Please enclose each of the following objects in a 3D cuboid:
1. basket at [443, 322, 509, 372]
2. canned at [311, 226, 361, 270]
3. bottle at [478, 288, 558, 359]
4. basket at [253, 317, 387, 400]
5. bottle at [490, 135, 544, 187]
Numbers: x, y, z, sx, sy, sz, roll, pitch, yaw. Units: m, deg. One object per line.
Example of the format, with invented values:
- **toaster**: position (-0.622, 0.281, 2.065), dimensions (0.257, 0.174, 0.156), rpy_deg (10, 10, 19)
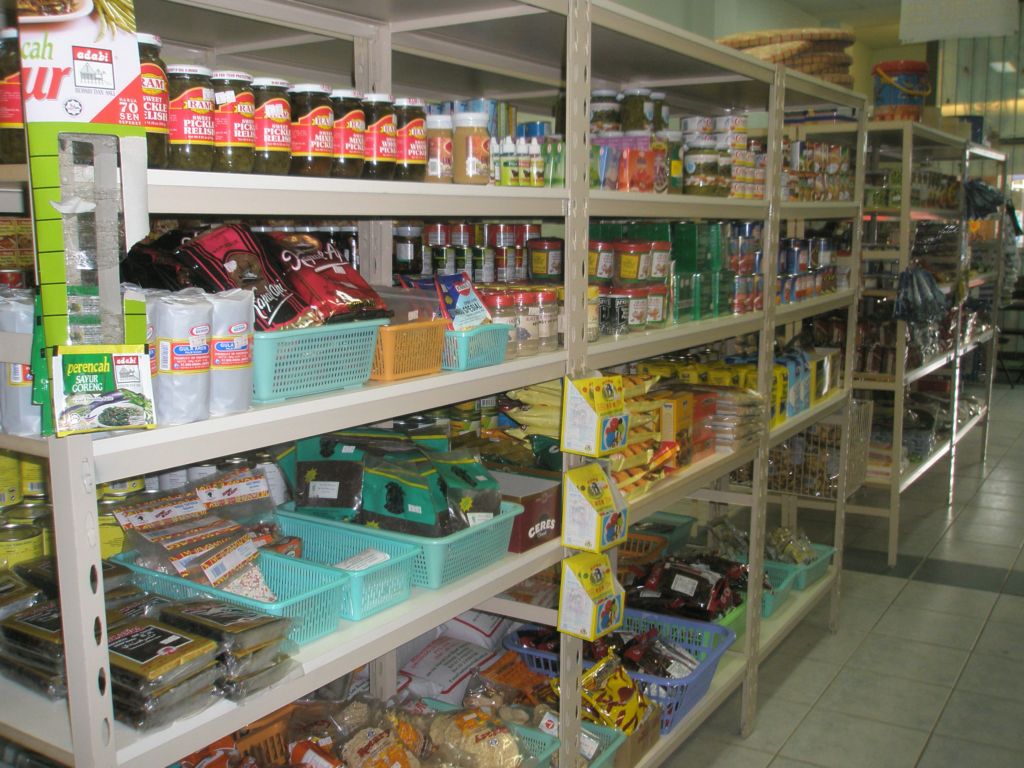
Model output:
- **basket**: position (-0.086, -0.095, 2.010), dimensions (0.122, 0.062, 0.167), rpy_deg (8, 15, 29)
- **canned**: position (-0.566, -0.443, 2.553), dimensions (0.146, 0.144, 0.068), rpy_deg (0, 14, 3)
- **bottle**: position (0.043, -0.189, 2.255), dimensions (0.241, 0.121, 0.232), rpy_deg (0, 15, 0)
- **basket**: position (-0.497, -0.056, 1.724), dimensions (0.276, 0.124, 0.360), rpy_deg (5, 10, 30)
- **bottle**: position (0.010, -0.582, 2.083), dimensions (0.192, 0.174, 0.069), rpy_deg (-14, 22, -40)
